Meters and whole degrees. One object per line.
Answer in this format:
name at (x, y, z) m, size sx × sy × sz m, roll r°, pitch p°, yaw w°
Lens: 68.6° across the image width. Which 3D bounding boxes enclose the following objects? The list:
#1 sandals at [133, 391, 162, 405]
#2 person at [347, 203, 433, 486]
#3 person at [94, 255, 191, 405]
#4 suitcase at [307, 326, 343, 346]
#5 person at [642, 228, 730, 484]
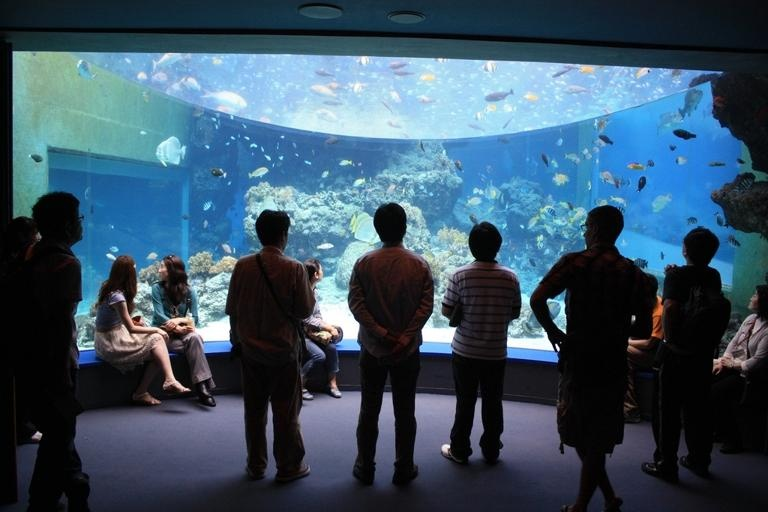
sandals at (-3.095, 1.855, 7.380) m, size 0.297 × 0.107 × 0.163 m, roll 2°, pitch -2°, yaw -6°
person at (0.049, 0.944, 6.017) m, size 0.877 × 3.009 × 0.364 m, roll 2°, pitch -3°, yaw -3°
person at (-3.182, 0.960, 7.215) m, size 0.962 × 1.917 × 0.413 m, roll 3°, pitch -3°, yaw -20°
suitcase at (-0.816, 1.078, 7.618) m, size 0.320 × 0.139 × 0.399 m, roll 1°, pitch 3°, yaw -17°
person at (3.280, 1.082, 6.152) m, size 0.746 × 2.748 × 0.470 m, roll 2°, pitch -3°, yaw 15°
